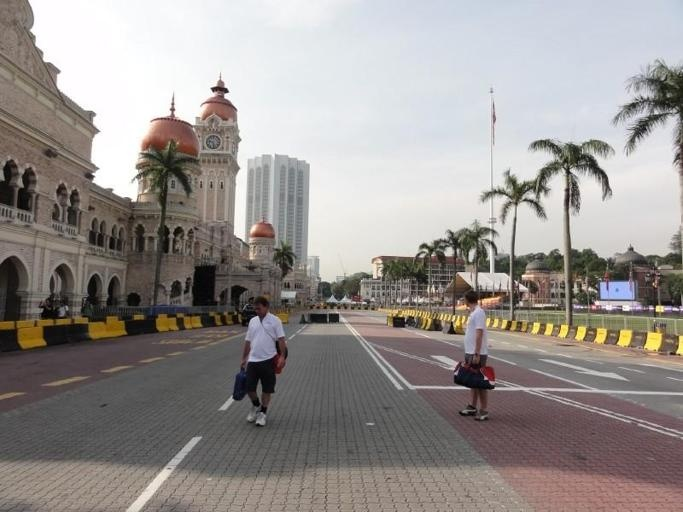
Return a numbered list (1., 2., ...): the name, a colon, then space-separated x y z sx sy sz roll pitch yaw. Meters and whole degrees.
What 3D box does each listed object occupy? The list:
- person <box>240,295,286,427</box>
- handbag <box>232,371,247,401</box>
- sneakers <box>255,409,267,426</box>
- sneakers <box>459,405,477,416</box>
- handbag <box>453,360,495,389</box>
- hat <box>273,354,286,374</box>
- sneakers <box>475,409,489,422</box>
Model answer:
1. person: -1.441 1.887 10.287 0.780 2.258 1.310 0 -5 -8
2. handbag: -1.776 2.261 9.750 0.219 0.545 0.403 1 -5 -11
3. sneakers: -1.417 2.839 9.735 0.195 0.221 0.526 0 -7 -4
4. sneakers: 2.388 2.926 10.501 0.377 0.183 0.138 -4 -11 32
5. handbag: 2.434 2.214 10.157 0.691 0.493 0.372 -1 -5 8
6. hat: -1.108 1.917 9.836 0.227 0.348 0.123 -2 5 -34
7. sneakers: 2.632 2.917 10.234 0.369 0.177 0.181 3 -7 -34
